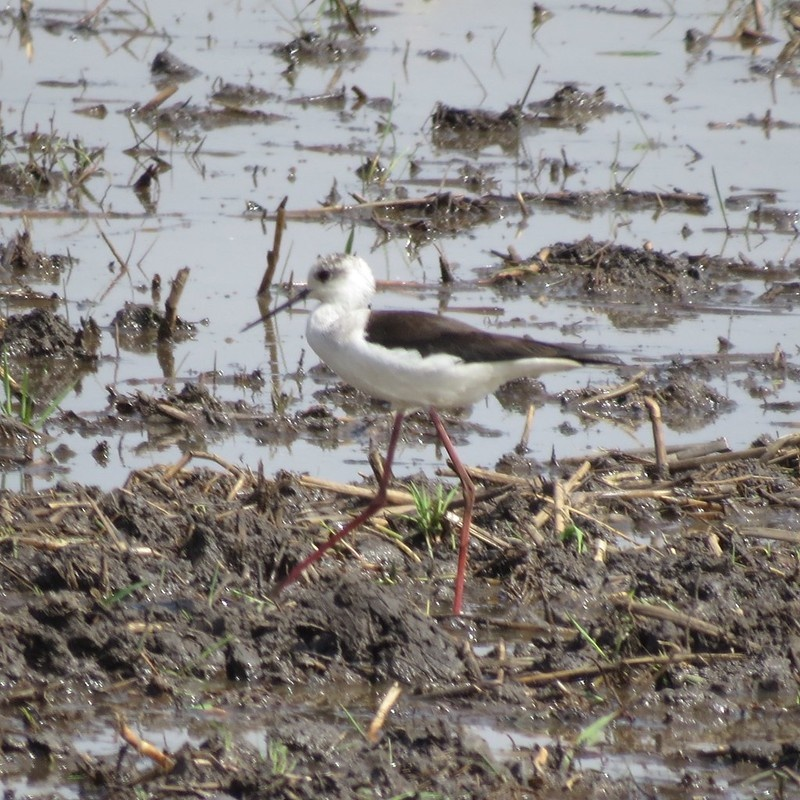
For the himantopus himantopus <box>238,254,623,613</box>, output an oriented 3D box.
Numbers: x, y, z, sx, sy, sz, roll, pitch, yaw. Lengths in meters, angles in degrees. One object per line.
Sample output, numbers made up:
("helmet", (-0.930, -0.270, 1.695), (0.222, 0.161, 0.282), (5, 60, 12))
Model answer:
("himantopus himantopus", (0.160, 0.137, 4.690), (1.839, 1.427, 0.525), (3, -7, 30))
